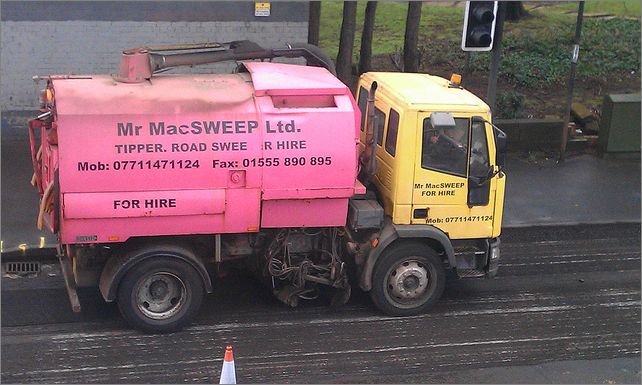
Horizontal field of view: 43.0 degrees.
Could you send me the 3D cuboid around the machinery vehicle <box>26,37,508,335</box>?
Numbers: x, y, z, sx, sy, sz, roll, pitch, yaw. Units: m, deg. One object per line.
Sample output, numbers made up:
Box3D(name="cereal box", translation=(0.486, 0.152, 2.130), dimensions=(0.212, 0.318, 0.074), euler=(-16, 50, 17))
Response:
Box3D(name="machinery vehicle", translation=(-1.241, -0.217, 18.319), dimensions=(9.856, 5.385, 5.009), euler=(-3, 16, -9))
